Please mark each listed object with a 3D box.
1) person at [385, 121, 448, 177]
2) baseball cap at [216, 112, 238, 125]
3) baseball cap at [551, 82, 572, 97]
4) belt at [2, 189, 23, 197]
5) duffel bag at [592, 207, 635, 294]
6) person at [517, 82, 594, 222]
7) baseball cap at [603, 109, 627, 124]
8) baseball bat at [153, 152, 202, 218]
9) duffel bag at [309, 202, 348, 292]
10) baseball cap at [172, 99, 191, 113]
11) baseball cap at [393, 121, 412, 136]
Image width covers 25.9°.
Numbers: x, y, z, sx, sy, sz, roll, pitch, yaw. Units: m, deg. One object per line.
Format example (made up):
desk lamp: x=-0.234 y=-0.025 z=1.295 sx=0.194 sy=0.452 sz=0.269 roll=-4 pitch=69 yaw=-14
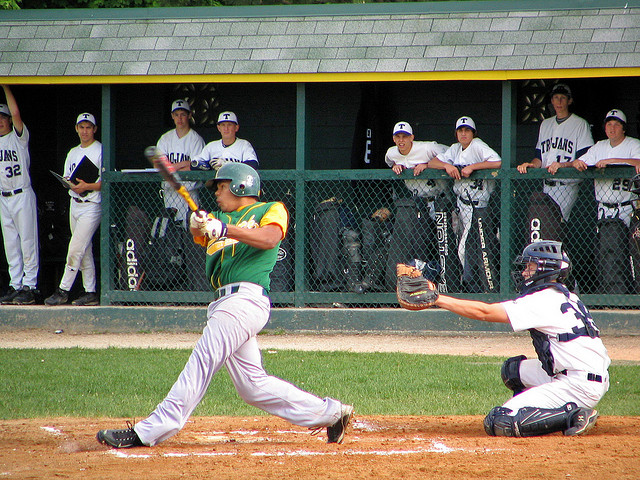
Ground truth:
person: x=1.132 y=-1.138 z=18.014 sx=0.671 sy=0.757 sz=0.499 roll=3 pitch=13 yaw=6
baseball cap: x=-1.253 y=-1.591 z=18.404 sx=0.239 sy=0.153 sz=0.234 roll=-3 pitch=15 yaw=-12
baseball cap: x=3.063 y=-1.927 z=18.051 sx=0.242 sy=0.147 sz=0.336 roll=1 pitch=15 yaw=6
belt: x=-4.107 y=-0.617 z=18.593 sx=0.263 sy=0.098 sz=0.028 roll=-3 pitch=15 yaw=-10
duffel bag: x=3.624 y=0.094 z=17.505 sx=0.464 sy=1.102 sz=0.396 roll=6 pitch=12 yaw=16
person: x=3.022 y=-1.236 z=17.919 sx=0.829 sy=1.973 sz=0.650 roll=10 pitch=14 yaw=32
baseball cap: x=3.724 y=-1.565 z=17.733 sx=0.178 sy=0.138 sz=0.260 roll=-2 pitch=5 yaw=31
baseball bat: x=-1.765 y=-0.621 z=17.019 sx=0.166 sy=1.115 sz=0.134 roll=-40 pitch=7 yaw=-3
duffel bag: x=0.076 y=0.109 z=17.975 sx=0.527 sy=1.170 sz=0.189 roll=3 pitch=15 yaw=13
baseball cap: x=-1.874 y=-1.812 z=18.889 sx=0.252 sy=0.183 sz=0.405 roll=0 pitch=8 yaw=5
baseball cap: x=1.030 y=-1.438 z=18.037 sx=0.232 sy=0.146 sz=0.351 roll=1 pitch=14 yaw=3
